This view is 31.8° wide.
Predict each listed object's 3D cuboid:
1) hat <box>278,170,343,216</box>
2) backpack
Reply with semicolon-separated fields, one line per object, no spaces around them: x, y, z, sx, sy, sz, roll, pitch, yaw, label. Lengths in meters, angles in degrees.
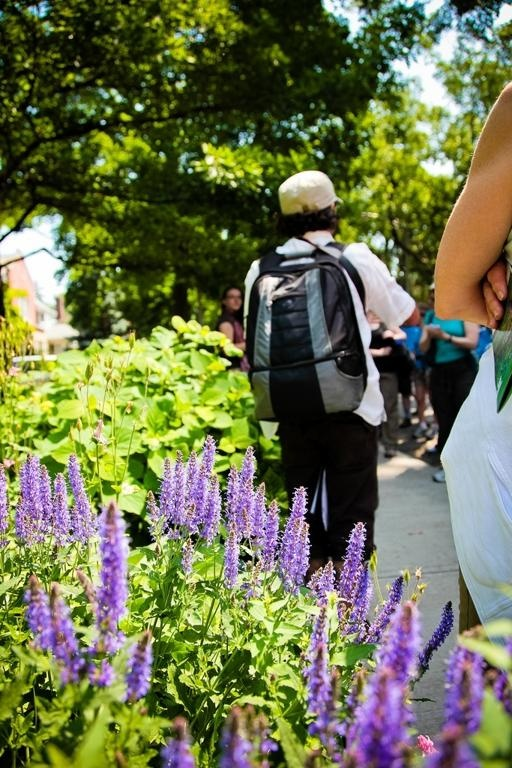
0.240;-0.827;3.877;0.182;0.114;0.239;11;25;40;hat
0.191;-0.215;3.625;0.535;0.739;0.382;3;2;22;backpack
